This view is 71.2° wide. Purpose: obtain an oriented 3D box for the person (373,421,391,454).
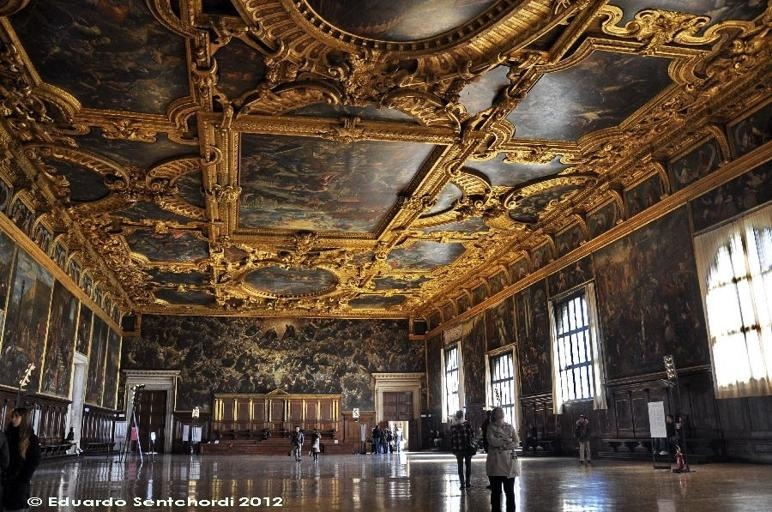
[{"bbox_3d":[-0.222,11.414,33.438,1.113,1.528,1.348,16,-30,-31],"label":"person"}]
